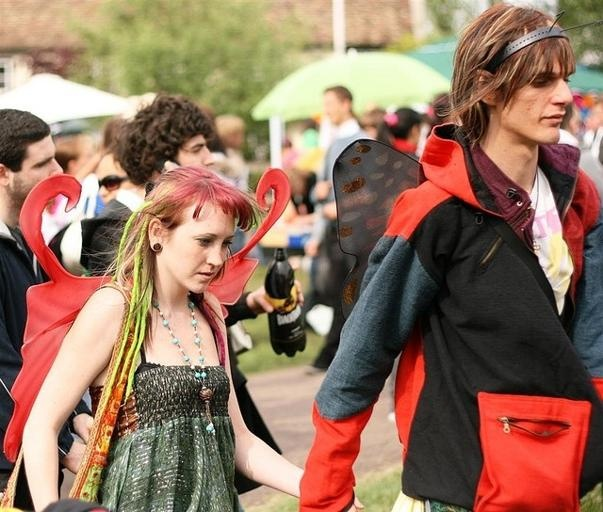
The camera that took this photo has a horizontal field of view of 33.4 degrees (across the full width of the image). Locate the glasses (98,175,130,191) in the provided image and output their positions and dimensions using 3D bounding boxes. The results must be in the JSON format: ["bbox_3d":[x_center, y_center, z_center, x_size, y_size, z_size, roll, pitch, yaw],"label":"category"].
[{"bbox_3d":[-1.008,-0.391,5.320,0.137,0.038,0.131,5,-5,-37],"label":"glasses"}]

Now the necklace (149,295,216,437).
[{"bbox_3d":[-0.394,0.367,3.495,0.179,0.058,0.511,-11,58,-16],"label":"necklace"}]
